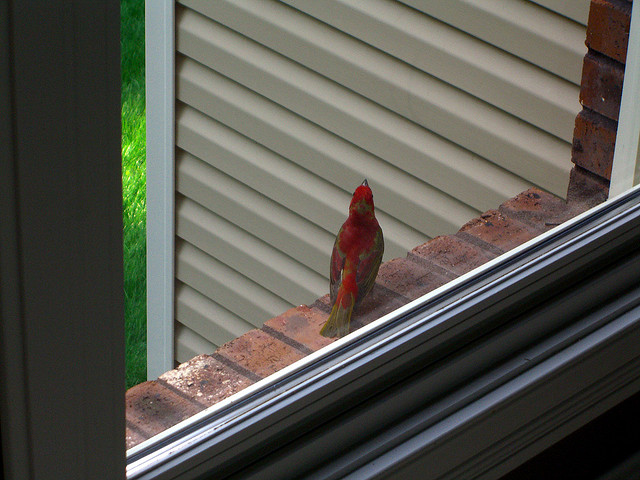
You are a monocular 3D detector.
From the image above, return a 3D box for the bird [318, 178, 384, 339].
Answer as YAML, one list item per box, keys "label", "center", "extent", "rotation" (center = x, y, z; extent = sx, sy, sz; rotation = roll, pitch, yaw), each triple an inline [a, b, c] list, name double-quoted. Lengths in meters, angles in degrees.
- label: "bird"
  center: [0.035, 0.025, 1.703]
  extent: [0.081, 0.279, 0.166]
  rotation: [7, -23, 20]
